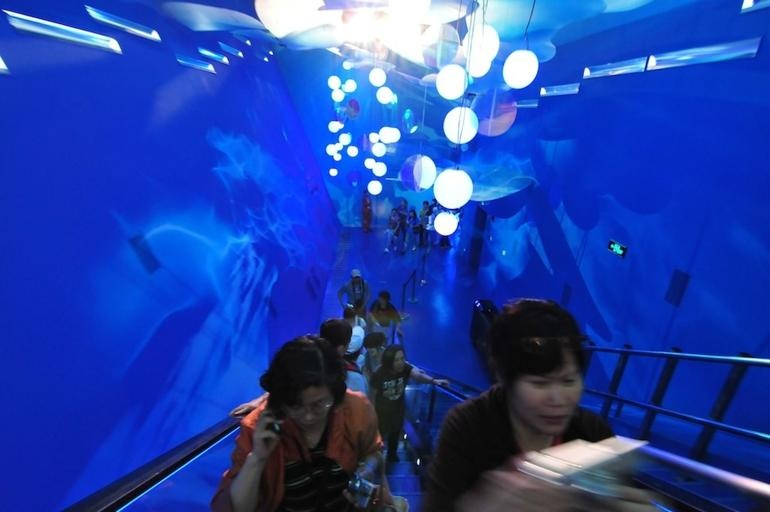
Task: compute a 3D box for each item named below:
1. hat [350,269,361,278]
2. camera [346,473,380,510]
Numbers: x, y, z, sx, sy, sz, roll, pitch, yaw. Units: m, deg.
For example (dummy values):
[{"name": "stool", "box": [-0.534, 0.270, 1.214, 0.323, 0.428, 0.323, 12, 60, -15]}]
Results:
[{"name": "hat", "box": [-0.504, 0.294, 7.893, 0.133, 0.138, 0.184, -8, -6, -5]}, {"name": "camera", "box": [-0.153, 1.663, 3.211, 0.213, 0.167, 0.072, 44, -34, 19]}]
